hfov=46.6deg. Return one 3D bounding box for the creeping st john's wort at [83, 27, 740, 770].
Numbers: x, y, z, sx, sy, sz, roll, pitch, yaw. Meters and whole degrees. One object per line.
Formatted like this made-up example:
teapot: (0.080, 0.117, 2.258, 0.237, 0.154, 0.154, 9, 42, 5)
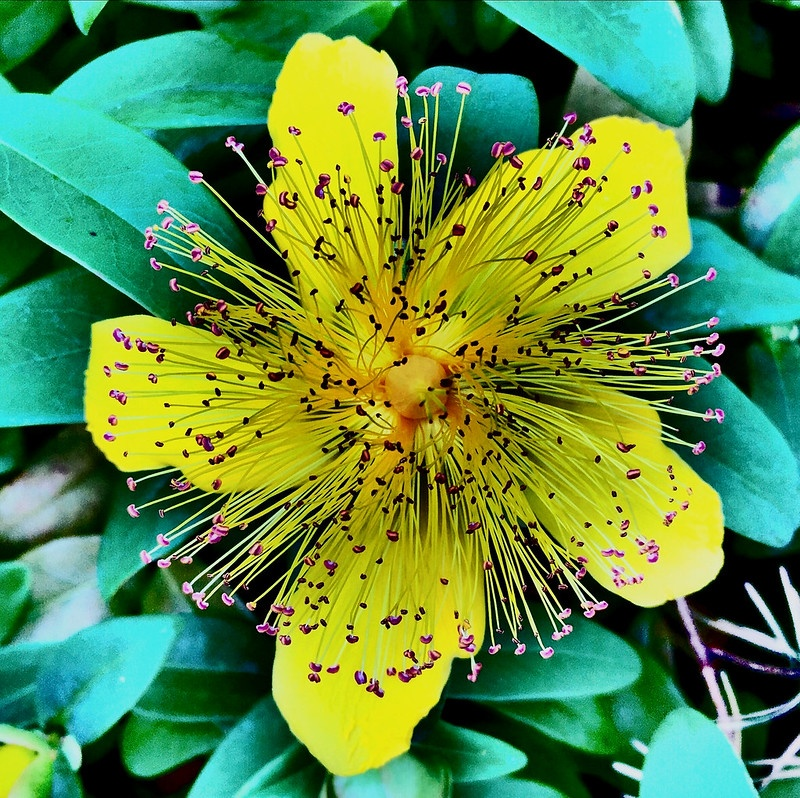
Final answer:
creeping st john's wort: (0.018, 0.004, 0.864, 0.531, 0.274, 0.548, -3, 96, 1)
